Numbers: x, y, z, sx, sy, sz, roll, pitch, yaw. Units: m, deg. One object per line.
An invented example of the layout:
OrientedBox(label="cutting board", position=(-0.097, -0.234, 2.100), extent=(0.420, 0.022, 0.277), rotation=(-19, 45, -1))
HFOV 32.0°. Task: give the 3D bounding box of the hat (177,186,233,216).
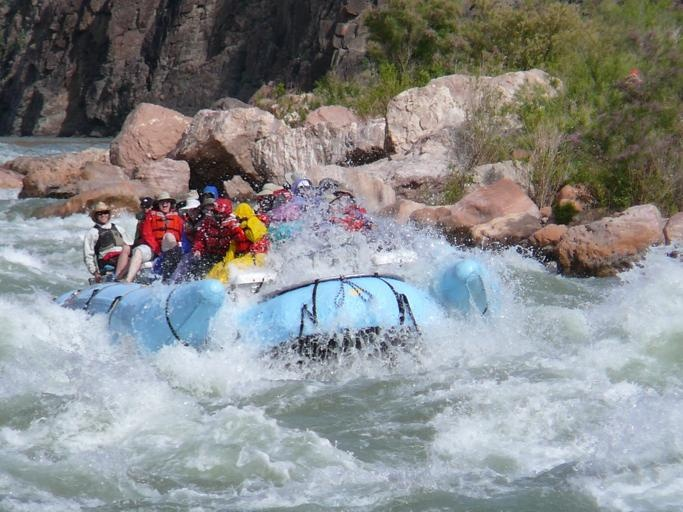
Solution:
OrientedBox(label="hat", position=(-2.883, -1.155, 24.314), extent=(0.786, 0.364, 0.847), rotation=(-25, 4, -6))

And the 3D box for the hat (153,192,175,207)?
OrientedBox(label="hat", position=(-3.762, -1.180, 25.206), extent=(0.545, 0.237, 0.626), rotation=(-2, -24, -10))

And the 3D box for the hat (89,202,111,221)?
OrientedBox(label="hat", position=(-5.158, -0.939, 25.609), extent=(0.475, 0.213, 0.554), rotation=(-8, -25, -31))
